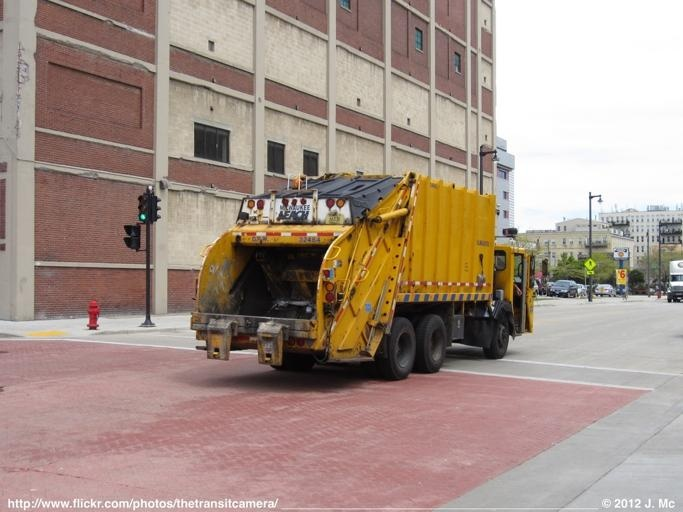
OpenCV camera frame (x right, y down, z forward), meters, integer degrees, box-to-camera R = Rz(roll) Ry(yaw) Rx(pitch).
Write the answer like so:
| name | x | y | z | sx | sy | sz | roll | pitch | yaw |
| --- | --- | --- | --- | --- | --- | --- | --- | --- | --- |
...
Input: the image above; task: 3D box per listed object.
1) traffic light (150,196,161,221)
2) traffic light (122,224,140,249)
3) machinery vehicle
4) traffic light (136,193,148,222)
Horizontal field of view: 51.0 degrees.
| name | x | y | z | sx | sy | sz | roll | pitch | yaw |
| --- | --- | --- | --- | --- | --- | --- | --- | --- | --- |
| traffic light | -6.320 | -1.676 | 24.245 | 0.363 | 1.101 | 0.889 | 2 | -2 | -9 |
| traffic light | -6.785 | -0.688 | 23.368 | 0.481 | 0.836 | 1.032 | 3 | -3 | -19 |
| machinery vehicle | 1.065 | 0.464 | 15.636 | 3.298 | 4.236 | 8.138 | -3 | -3 | 36 |
| traffic light | -6.604 | -1.637 | 23.918 | 0.263 | 0.995 | 0.422 | 3 | -2 | -21 |
